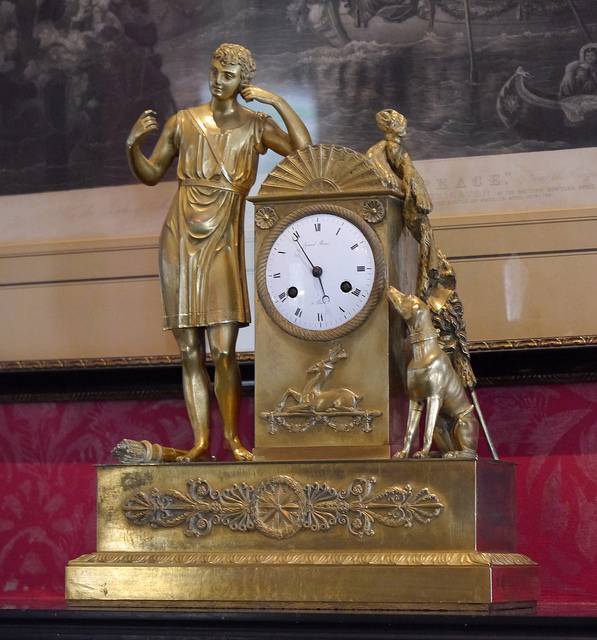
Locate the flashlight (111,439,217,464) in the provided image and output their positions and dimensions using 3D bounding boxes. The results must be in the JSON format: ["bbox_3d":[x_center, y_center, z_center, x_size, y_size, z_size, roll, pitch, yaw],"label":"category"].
[{"bbox_3d":[-0.269,0.275,4.239,0.048,0.061,0.204,7,-1,44],"label":"flashlight"}]

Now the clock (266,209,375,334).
[{"bbox_3d":[0.056,-0.088,4.206,0.212,0.268,0.028,0,-9,14],"label":"clock"}]
